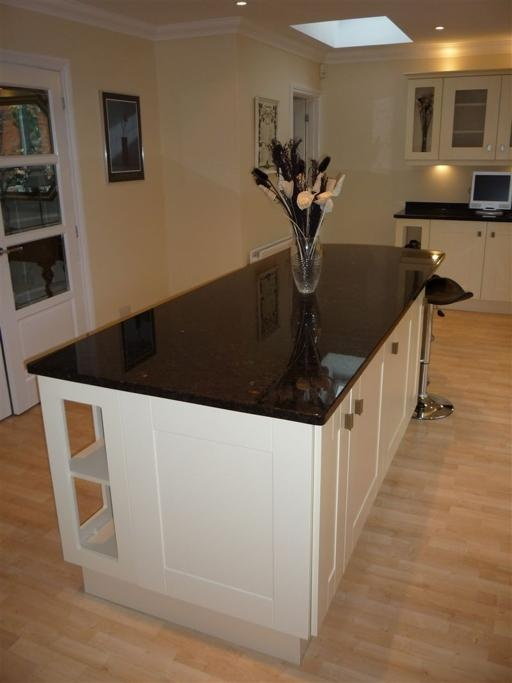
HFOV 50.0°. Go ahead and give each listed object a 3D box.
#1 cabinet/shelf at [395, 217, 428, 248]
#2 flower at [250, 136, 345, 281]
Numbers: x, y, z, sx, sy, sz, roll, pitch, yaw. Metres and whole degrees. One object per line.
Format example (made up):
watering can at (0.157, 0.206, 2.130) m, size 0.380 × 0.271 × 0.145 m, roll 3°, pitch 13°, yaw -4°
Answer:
cabinet/shelf at (1.568, -1.043, 5.497) m, size 0.347 × 0.371 × 0.357 m, roll 2°, pitch 11°, yaw 18°
flower at (0.165, -0.466, 2.123) m, size 0.349 × 0.622 × 0.482 m, roll -1°, pitch 14°, yaw 1°
